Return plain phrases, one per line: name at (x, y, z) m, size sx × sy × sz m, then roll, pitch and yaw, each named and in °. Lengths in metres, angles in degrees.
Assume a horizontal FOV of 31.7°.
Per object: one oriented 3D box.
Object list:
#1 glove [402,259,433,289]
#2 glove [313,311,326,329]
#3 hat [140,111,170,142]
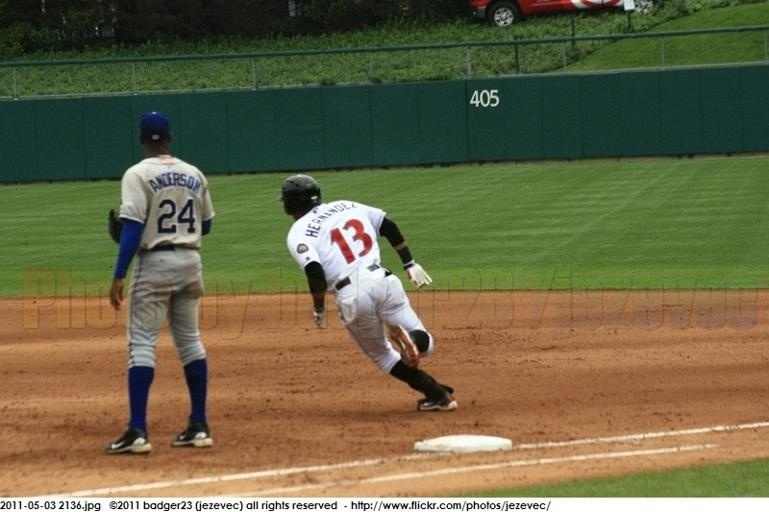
glove at (0.638, 0.409, 28.015) m, size 0.525 × 0.600 × 0.283 m, roll -32°, pitch -4°, yaw -15°
glove at (-1.306, 1.281, 27.341) m, size 0.225 × 0.348 × 0.153 m, roll -5°, pitch 0°, yaw -8°
hat at (-4.614, -2.661, 27.144) m, size 0.462 × 0.363 × 0.647 m, roll -3°, pitch 40°, yaw -13°
